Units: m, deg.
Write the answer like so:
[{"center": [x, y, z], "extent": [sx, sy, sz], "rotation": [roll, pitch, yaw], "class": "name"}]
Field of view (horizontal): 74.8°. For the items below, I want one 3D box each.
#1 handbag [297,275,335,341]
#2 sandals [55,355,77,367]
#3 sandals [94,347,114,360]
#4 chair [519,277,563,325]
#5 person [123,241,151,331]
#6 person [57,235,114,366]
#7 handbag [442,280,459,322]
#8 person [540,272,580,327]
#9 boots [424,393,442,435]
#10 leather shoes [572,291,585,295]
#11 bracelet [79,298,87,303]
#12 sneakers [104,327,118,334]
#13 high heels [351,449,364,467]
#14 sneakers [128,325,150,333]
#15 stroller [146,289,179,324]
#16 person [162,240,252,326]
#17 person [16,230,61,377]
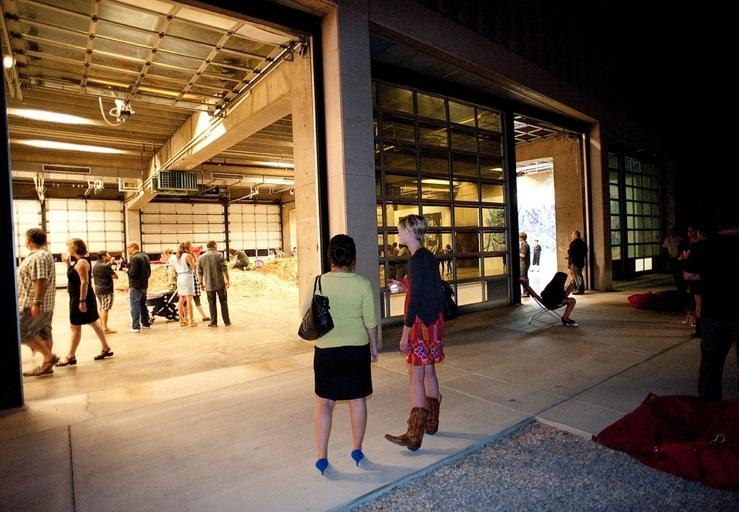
[{"center": [-0.549, 0.519, 4.849], "extent": [0.343, 0.653, 0.252], "rotation": [-3, 2, -8], "class": "handbag"}, {"center": [-4.920, 1.681, 7.788], "extent": [0.293, 0.126, 0.145], "rotation": [5, -5, -5], "class": "sandals"}, {"center": [-4.444, 1.612, 8.065], "extent": [0.424, 0.190, 0.146], "rotation": [-2, 1, 28], "class": "sandals"}, {"center": [3.658, 1.010, 10.289], "extent": [0.821, 0.743, 0.549], "rotation": [-17, -22, 12], "class": "chair"}, {"center": [-4.913, 0.617, 10.250], "extent": [0.424, 1.353, 0.935], "rotation": [-4, 3, -26], "class": "person"}, {"center": [-4.825, 0.709, 8.077], "extent": [0.775, 1.663, 1.204], "rotation": [-4, 3, -31], "class": "person"}, {"center": [0.966, 0.521, 5.756], "extent": [0.134, 0.544, 0.900], "rotation": [-2, 3, 11], "class": "handbag"}, {"center": [3.765, 0.783, 9.572], "extent": [0.605, 1.003, 1.226], "rotation": [-2, 3, 23], "class": "person"}, {"center": [0.714, 1.790, 5.565], "extent": [0.195, 0.375, 0.396], "rotation": [1, 4, 10], "class": "boots"}, {"center": [5.690, 0.962, 13.131], "extent": [0.316, 0.129, 0.103], "rotation": [7, 13, 30], "class": "leather shoes"}, {"center": [-4.531, 0.686, 7.574], "extent": [0.080, 0.064, 0.090], "rotation": [1, -1, -14], "class": "bracelet"}, {"center": [-5.349, 1.521, 9.936], "extent": [0.249, 0.101, 0.090], "rotation": [2, 12, -29], "class": "sneakers"}, {"center": [-0.133, 2.077, 5.001], "extent": [0.099, 0.180, 0.071], "rotation": [-3, -7, -1], "class": "high heels"}, {"center": [-4.881, 1.531, 10.156], "extent": [0.305, 0.126, 0.111], "rotation": [1, -2, 1], "class": "sneakers"}, {"center": [-5.060, 1.168, 11.565], "extent": [0.864, 0.796, 0.578], "rotation": [3, -6, -43], "class": "stroller"}, {"center": [-3.670, 0.581, 10.522], "extent": [0.973, 1.827, 1.533], "rotation": [-4, 3, -32], "class": "person"}, {"center": [-4.883, 0.679, 7.081], "extent": [0.482, 1.901, 0.923], "rotation": [-4, 3, -35], "class": "person"}]
